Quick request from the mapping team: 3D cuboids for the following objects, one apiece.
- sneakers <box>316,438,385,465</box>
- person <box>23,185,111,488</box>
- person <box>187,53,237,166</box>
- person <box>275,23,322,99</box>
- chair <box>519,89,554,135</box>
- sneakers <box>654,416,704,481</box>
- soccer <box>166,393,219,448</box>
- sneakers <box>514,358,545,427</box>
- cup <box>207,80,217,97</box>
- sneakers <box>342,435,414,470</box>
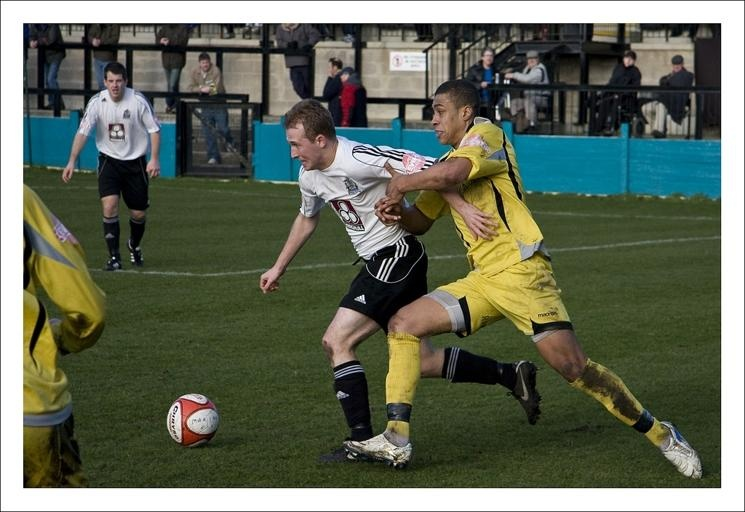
[{"bbox_3d":[-0.157,1.341,6.011,0.413,0.223,0.164,8,-3,3],"label":"sneakers"},{"bbox_3d":[-1.862,0.514,5.260,0.482,1.854,0.497,-2,11,-9],"label":"person"},{"bbox_3d":[-3.374,-3.156,18.655,0.765,2.304,0.983,-5,12,-26],"label":"person"},{"bbox_3d":[-1.699,-4.473,19.931,0.898,1.678,0.719,2,11,6],"label":"person"},{"bbox_3d":[3.279,-2.957,17.630,0.569,0.936,0.562,5,-11,-29],"label":"chair"},{"bbox_3d":[2.108,1.353,6.001,0.505,0.179,0.206,52,26,12],"label":"sneakers"},{"bbox_3d":[-1.247,1.155,6.196,0.310,0.348,0.348,0,32,0],"label":"soccer"},{"bbox_3d":[1.150,0.994,6.571,0.224,0.509,0.173,-16,4,9],"label":"sneakers"},{"bbox_3d":[-3.402,-3.615,18.679,0.229,0.428,0.237,-2,-6,0],"label":"cup"},{"bbox_3d":[0.047,1.323,5.998,0.473,0.202,0.263,11,51,10],"label":"sneakers"}]
